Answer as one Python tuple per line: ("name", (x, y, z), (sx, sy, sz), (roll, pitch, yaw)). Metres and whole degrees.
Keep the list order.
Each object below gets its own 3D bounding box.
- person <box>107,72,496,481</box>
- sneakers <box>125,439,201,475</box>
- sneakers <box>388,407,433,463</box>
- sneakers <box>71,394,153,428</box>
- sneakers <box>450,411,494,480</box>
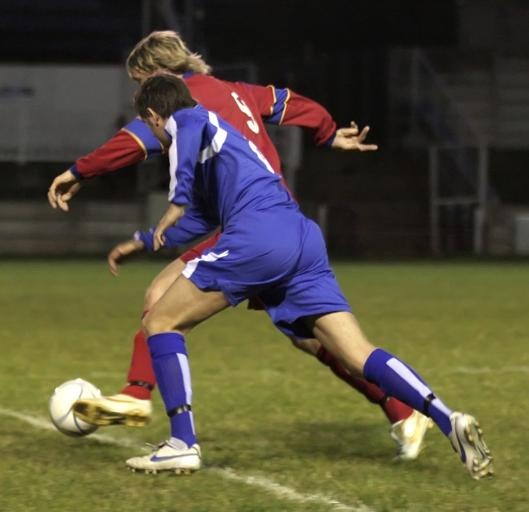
("person", (0.081, 0.067, 3.734), (1.257, 1.546, 0.575), (0, 5, 8))
("sneakers", (-0.391, 0.784, 3.718), (0.326, 0.105, 0.098), (-7, -3, 24))
("sneakers", (0.582, 0.718, 3.873), (0.141, 0.245, 0.094), (18, -34, 7))
("sneakers", (-0.599, 0.598, 3.735), (0.287, 0.094, 0.124), (7, -35, -7))
("sneakers", (0.735, 0.684, 3.397), (0.153, 0.250, 0.122), (1, 5, 10))
